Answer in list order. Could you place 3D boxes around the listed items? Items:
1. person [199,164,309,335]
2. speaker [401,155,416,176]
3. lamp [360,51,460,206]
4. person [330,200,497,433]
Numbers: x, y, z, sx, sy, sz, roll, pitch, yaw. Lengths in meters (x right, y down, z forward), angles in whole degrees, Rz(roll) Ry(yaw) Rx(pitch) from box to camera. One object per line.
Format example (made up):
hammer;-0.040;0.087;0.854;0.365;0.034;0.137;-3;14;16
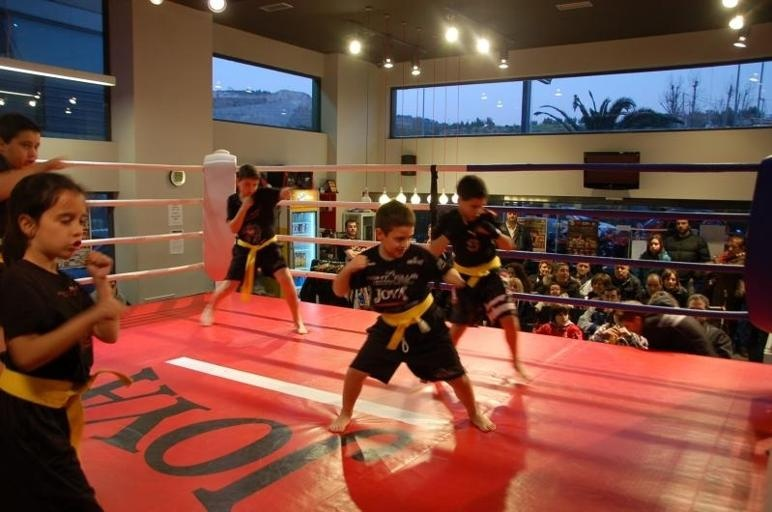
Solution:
person;-1.108;-0.079;4.194;0.974;1.364;0.524;2;9;7
speaker;0.484;-2.077;11.275;0.505;0.485;0.353;4;10;22
lamp;0.618;-2.849;10.935;2.340;2.889;0.762;7;10;33
person;0.125;0.426;2.662;0.848;1.009;0.238;1;9;-2
